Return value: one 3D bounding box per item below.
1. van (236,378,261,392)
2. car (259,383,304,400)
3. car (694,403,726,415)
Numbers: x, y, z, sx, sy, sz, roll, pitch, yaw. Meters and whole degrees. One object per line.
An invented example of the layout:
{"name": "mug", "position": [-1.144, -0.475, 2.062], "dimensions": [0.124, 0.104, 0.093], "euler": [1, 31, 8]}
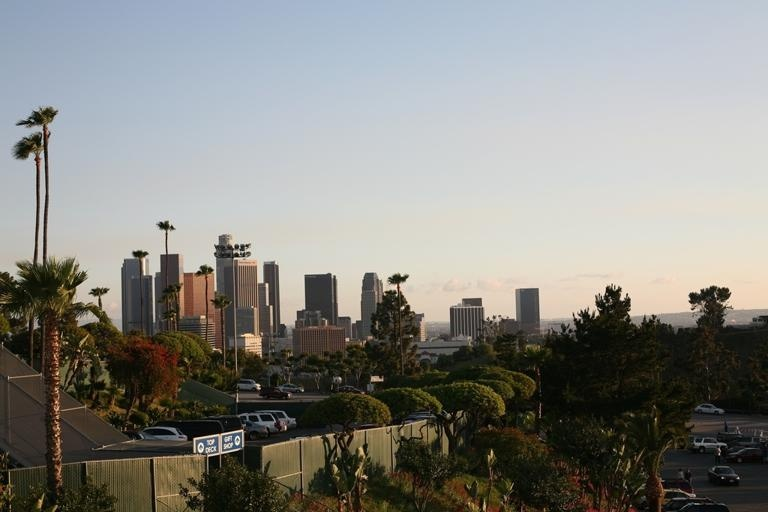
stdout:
{"name": "van", "position": [-15.951, 15.101, 159.925], "dimensions": [3.304, 1.469, 1.899], "euler": [-2, 2, 4]}
{"name": "car", "position": [-11.968, 15.167, 151.067], "dimensions": [3.138, 1.143, 2.065], "euler": [-4, -4, 10]}
{"name": "car", "position": [42.021, 19.414, 173.591], "dimensions": [2.739, 1.138, 4.287], "euler": [-1, -3, -13]}
